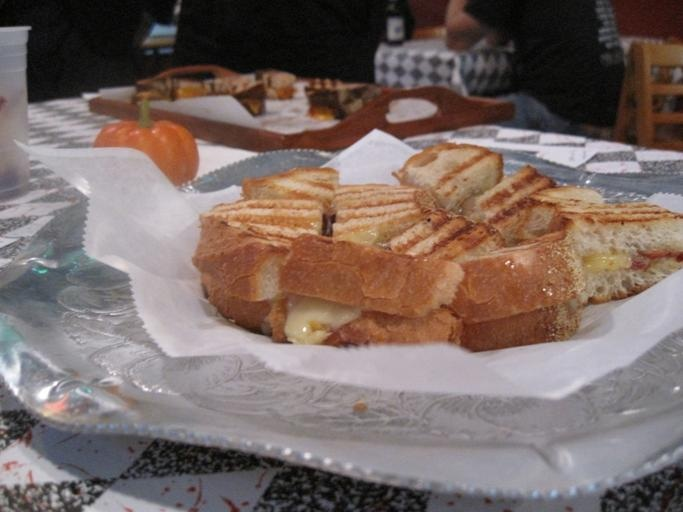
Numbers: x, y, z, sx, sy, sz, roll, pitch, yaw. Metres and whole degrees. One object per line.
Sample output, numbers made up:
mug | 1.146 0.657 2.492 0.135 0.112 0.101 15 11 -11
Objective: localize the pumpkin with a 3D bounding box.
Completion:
pumpkin | -0.470 -0.264 1.594 0.287 0.214 0.263 -2 14 -28

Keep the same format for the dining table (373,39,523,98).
dining table | 0.656 -1.183 3.980 1.047 0.335 0.974 8 17 27
